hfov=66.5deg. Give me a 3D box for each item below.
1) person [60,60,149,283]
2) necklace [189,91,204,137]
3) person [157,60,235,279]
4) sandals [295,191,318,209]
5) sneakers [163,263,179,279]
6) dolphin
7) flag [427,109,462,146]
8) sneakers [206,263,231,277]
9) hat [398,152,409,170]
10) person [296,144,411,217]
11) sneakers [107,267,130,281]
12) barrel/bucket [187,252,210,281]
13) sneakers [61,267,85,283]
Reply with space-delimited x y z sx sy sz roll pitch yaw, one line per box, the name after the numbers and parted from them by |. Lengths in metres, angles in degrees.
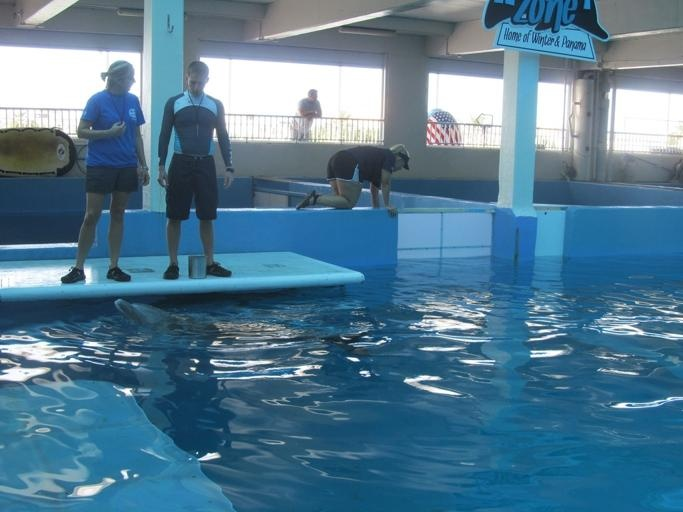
-2.178 -0.792 4.833 0.646 2.028 0.599 1 8 -3 | person
-1.393 -1.368 5.003 0.117 0.371 0.077 -1 9 -13 | necklace
-1.439 -0.846 5.119 0.695 2.074 0.533 -2 9 -18 | person
-0.499 -0.758 7.363 0.339 0.142 0.211 -33 10 -7 | sandals
-1.640 0.143 5.008 0.142 0.141 0.160 -2 9 -19 | sneakers
-0.772 0.801 4.522 2.287 0.296 0.660 7 2 -17 | dolphin
3.507 -4.448 18.266 1.540 1.044 1.448 5 6 9 | flag
-1.244 0.137 5.251 0.278 0.103 0.115 5 8 24 | sneakers
0.841 -1.317 7.186 0.146 0.224 0.434 2 8 6 | hat
0.154 -1.116 7.341 1.143 1.077 1.236 -1 9 -37 | person
-2.098 0.171 4.931 0.257 0.098 0.108 5 8 32 | sneakers
-1.393 0.120 5.063 0.225 0.217 0.209 0 4 0 | barrel/bucket
-2.437 0.182 4.753 0.105 0.107 0.206 3 4 29 | sneakers
